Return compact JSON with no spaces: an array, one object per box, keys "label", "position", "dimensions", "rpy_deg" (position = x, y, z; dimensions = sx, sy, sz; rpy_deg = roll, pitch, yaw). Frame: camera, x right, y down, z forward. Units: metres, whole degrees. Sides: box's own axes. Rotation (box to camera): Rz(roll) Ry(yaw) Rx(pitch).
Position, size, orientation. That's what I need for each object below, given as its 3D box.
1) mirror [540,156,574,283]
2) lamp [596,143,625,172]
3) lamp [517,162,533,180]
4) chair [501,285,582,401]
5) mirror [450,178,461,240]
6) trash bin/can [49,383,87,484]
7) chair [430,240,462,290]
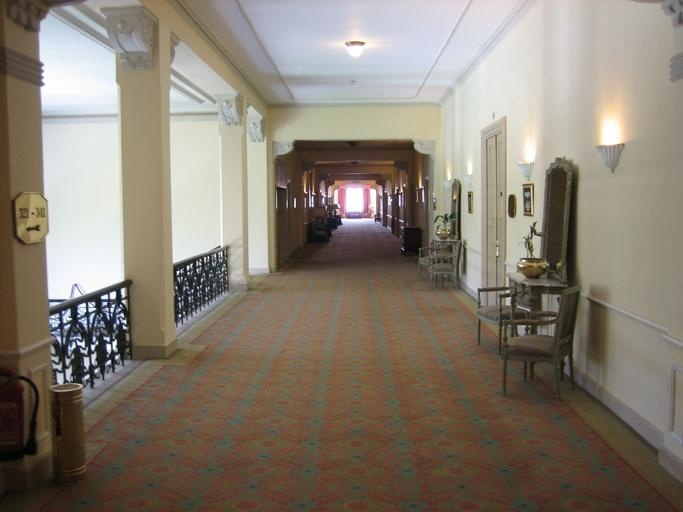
[{"label":"mirror","position":[2.512,-0.438,5.496],"dimensions":[0.223,1.392,0.500],"rpy_deg":[-2,6,0]},{"label":"lamp","position":[2.518,-0.925,4.471],"dimensions":[0.168,0.265,0.275],"rpy_deg":[-1,6,9]},{"label":"lamp","position":[2.556,-1.205,6.642],"dimensions":[0.188,0.209,0.198],"rpy_deg":[5,4,14]},{"label":"chair","position":[2.254,0.943,5.523],"dimensions":[0.959,1.668,1.206],"rpy_deg":[1,1,22]},{"label":"mirror","position":[2.754,-1.151,11.516],"dimensions":[0.195,1.439,0.749],"rpy_deg":[-2,6,5]},{"label":"trash bin/can","position":[-2.084,1.353,3.599],"dimensions":[0.220,0.676,0.189],"rpy_deg":[-4,6,-19]},{"label":"chair","position":[2.410,0.173,11.109],"dimensions":[0.895,1.511,1.053],"rpy_deg":[1,2,5]}]
